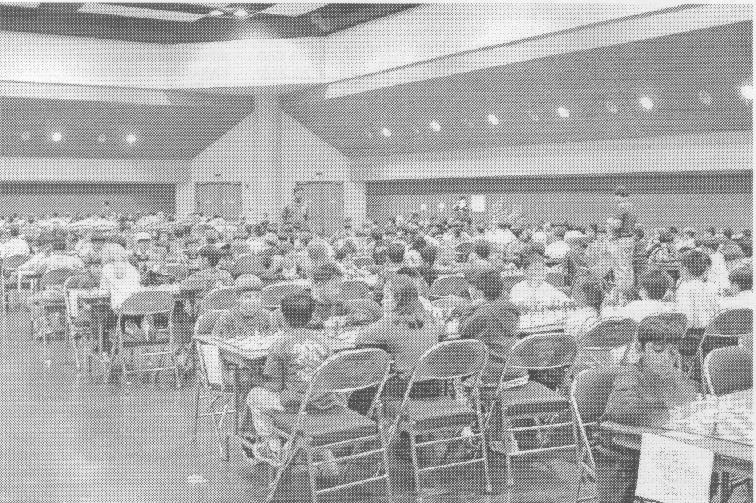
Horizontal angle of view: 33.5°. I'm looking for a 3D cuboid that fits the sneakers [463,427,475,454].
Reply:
[{"bbox_3d":[0.858,1.766,11.905,0.091,0.283,0.198,3,-15,6],"label":"sneakers"}]
